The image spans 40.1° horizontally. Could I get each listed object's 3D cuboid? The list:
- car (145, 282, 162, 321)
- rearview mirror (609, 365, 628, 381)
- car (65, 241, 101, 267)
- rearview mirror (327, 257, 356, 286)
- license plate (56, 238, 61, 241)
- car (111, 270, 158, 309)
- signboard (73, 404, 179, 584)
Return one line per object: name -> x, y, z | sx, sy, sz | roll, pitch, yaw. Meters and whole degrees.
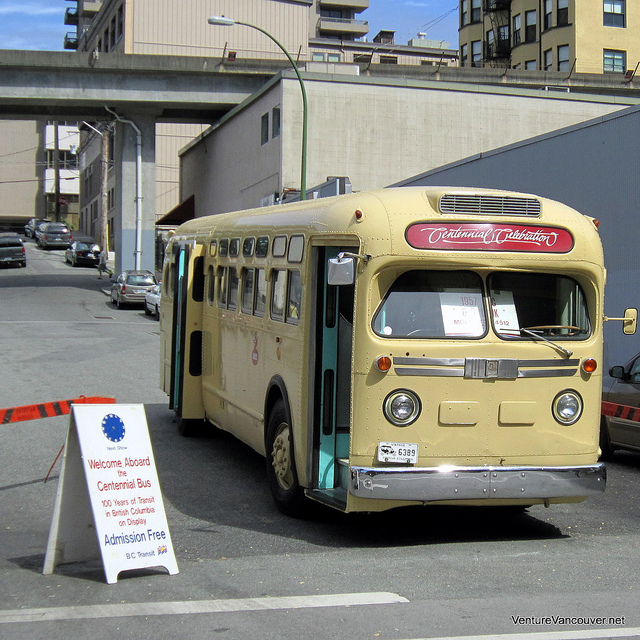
car -> -6.098, -0.605, 32.043 | 0.867, 1.204, 2.118 | 0, 10, -17
rearview mirror -> 3.780, 0.670, 11.180 | 0.166, 0.114, 0.193 | 1, 4, -11
car -> -16.261, -4.467, 60.771 | 1.589, 1.600, 4.164 | -1, 9, -15
rearview mirror -> 0.176, -0.382, 7.094 | 0.173, 0.230, 0.206 | 0, 2, 5
license plate -> -21.366, -6.544, 71.748 | 0.228, 0.198, 0.129 | -1, -1, -27
car -> -8.087, -1.458, 37.836 | 1.210, 1.235, 2.223 | -1, 11, -12
signboard -> -1.450, 1.267, 6.522 | 0.662, 1.221, 0.488 | -1, 3, -33
